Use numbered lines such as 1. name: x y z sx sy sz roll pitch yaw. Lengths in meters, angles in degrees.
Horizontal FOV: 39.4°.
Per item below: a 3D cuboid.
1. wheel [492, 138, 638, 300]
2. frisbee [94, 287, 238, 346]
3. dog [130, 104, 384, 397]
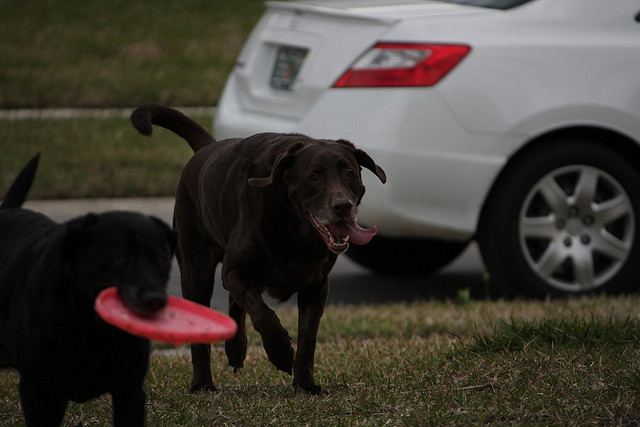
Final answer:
1. wheel: 1.859 0.033 6.916 1.087 1.220 0.374 -1 -2 -8
2. frisbee: -0.780 0.554 4.591 0.433 0.100 0.441 15 15 -3
3. dog: -0.581 0.194 6.354 0.822 2.052 3.264 -2 0 -31
